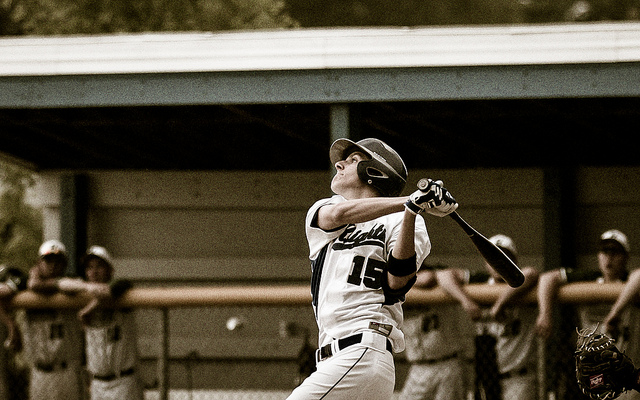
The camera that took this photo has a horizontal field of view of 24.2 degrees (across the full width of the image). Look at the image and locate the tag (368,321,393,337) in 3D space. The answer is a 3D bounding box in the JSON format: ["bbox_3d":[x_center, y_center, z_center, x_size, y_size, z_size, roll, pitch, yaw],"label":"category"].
[{"bbox_3d":[0.523,1.086,12.613,0.147,0.066,0.110,15,-5,-14],"label":"tag"}]

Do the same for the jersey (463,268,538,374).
[{"bbox_3d":[1.733,1.194,14.169,1.135,0.801,0.134,0,-3,6],"label":"jersey"}]

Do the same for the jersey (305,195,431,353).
[{"bbox_3d":[0.400,0.619,12.793,1.279,1.525,0.879,-2,-26,20],"label":"jersey"}]

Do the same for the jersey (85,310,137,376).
[{"bbox_3d":[-1.988,1.354,14.135,0.465,0.612,0.106,0,-5,-10],"label":"jersey"}]

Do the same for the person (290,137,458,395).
[{"bbox_3d":[0.402,0.539,12.668,1.228,2.184,0.532,-1,-4,5],"label":"person"}]

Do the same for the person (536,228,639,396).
[{"bbox_3d":[2.496,1.012,13.644,1.074,1.429,0.541,2,-5,17],"label":"person"}]

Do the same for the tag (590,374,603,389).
[{"bbox_3d":[2.373,1.540,12.672,0.123,0.112,0.017,-5,-12,21],"label":"tag"}]
